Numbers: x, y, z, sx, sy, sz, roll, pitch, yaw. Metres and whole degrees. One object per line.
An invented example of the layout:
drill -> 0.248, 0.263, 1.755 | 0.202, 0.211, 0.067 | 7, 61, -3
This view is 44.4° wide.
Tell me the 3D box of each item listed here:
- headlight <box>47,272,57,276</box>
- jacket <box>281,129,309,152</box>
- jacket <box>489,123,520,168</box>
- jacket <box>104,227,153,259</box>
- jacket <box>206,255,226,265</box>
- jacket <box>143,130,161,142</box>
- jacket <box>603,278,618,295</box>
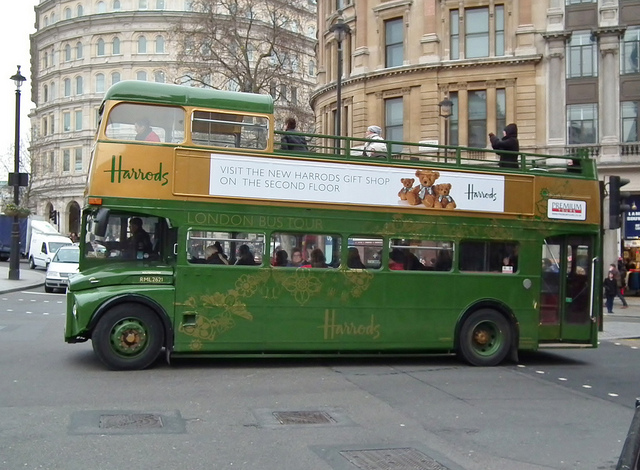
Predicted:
headlight -> -9.905, 1.473, 29.236 | 0.515, 0.150, 0.101 | 5, 5, 31
jacket -> -0.536, -2.009, 16.084 | 0.550, 0.685, 0.339 | 0, 14, 3
jacket -> 4.106, -1.975, 17.575 | 0.606, 0.988, 1.326 | 3, 4, 12
jacket -> -3.729, 0.187, 15.432 | 0.794, 0.557, 0.539 | 4, 4, -2
jacket -> -2.005, 0.501, 15.184 | 0.311, 0.153, 0.039 | 1, 4, -12
jacket -> -3.187, -1.853, 14.984 | 0.279, 0.209, 0.042 | 1, 4, -11
jacket -> 10.836, 1.948, 29.596 | 0.470, 0.616, 0.465 | 3, 4, 15
